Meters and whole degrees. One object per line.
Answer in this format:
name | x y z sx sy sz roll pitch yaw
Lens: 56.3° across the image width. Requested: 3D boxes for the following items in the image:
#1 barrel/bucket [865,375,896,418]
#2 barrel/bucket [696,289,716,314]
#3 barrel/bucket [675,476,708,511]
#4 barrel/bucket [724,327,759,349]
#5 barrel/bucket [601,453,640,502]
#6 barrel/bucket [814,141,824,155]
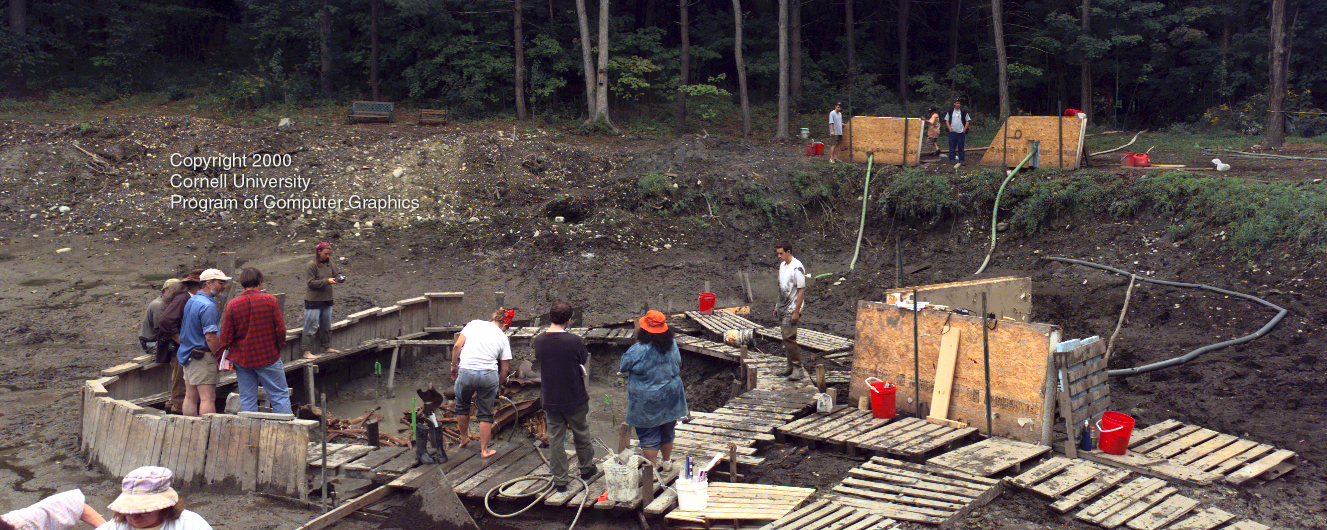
barrel/bucket | 9.457 5.795 53.700 1.186 1.616 0.964 2 16 14
barrel/bucket | 2.058 1.811 59.145 1.262 1.315 0.806 5 13 1
barrel/bucket | 1.108 9.632 52.054 1.538 0.896 1.461 -2 -2 0
barrel/bucket | 3.429 3.420 56.294 1.201 0.982 2.148 2 13 15
barrel/bucket | -1.642 8.921 51.913 1.556 1.876 0.930 -3 16 -4
barrel/bucket | 8.242 -6.157 65.428 0.432 0.634 1.302 2 13 14
